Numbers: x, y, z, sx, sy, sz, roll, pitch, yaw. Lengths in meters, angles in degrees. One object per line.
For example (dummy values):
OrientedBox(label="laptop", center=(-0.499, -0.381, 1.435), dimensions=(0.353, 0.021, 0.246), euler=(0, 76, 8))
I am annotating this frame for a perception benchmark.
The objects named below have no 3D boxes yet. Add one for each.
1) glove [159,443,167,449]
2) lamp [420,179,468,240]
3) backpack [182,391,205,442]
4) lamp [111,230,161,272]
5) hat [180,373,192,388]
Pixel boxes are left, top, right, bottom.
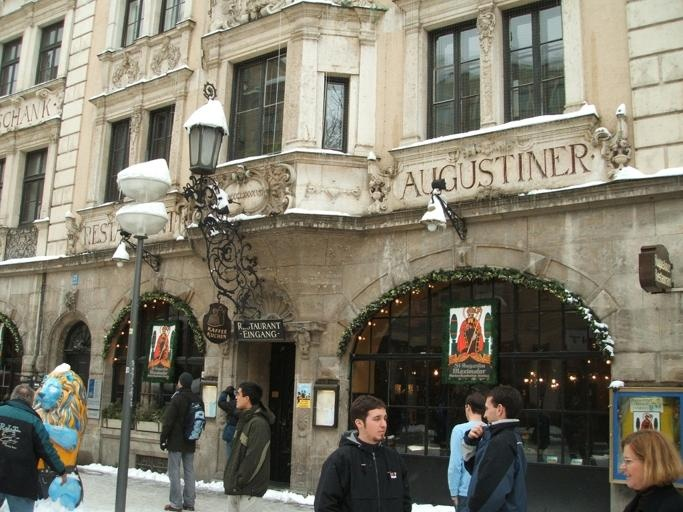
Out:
OrientedBox(label="glove", center=(-3.049, 3.247, 13.196), dimensions=(0.100, 0.080, 0.102), euler=(2, -5, -21))
OrientedBox(label="lamp", center=(1.788, -0.813, 13.486), dimensions=(0.438, 0.967, 1.486), euler=(-5, -14, 23))
OrientedBox(label="backpack", center=(-2.577, 2.860, 13.442), dimensions=(0.317, 0.615, 0.408), euler=(8, -9, 27))
OrientedBox(label="lamp", center=(-4.814, -0.148, 17.557), dimensions=(0.391, 0.810, 1.330), euler=(4, -1, 6))
OrientedBox(label="hat", center=(-2.705, 2.183, 13.473), dimensions=(0.212, 0.254, 0.259), euler=(6, 8, -26))
